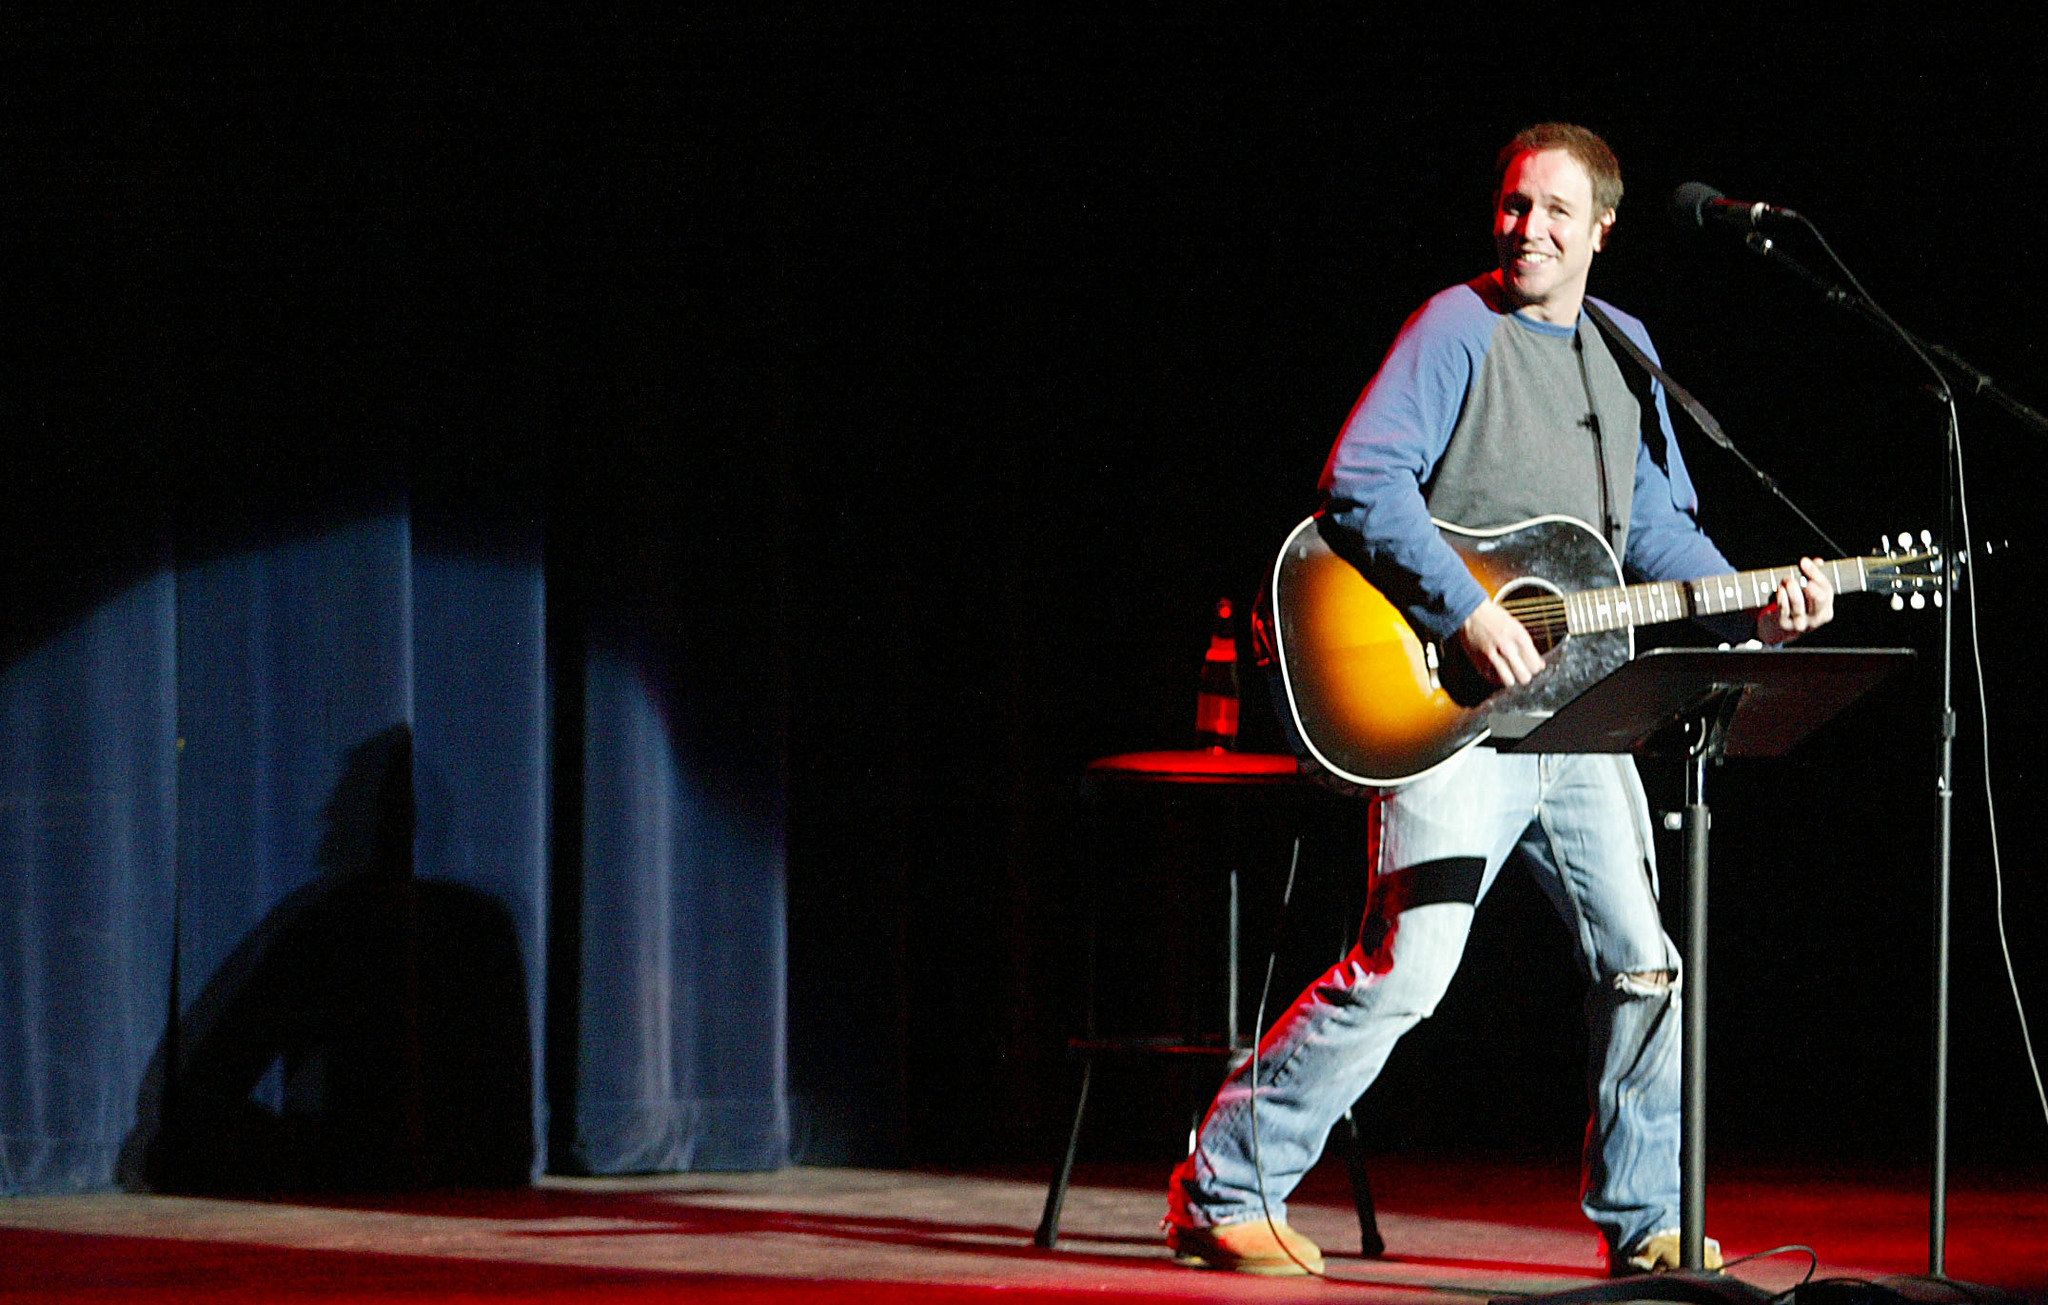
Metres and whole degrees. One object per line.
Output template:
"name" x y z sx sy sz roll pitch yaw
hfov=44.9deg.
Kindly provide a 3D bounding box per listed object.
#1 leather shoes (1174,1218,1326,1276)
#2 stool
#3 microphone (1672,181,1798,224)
"leather shoes" 0.542 1.428 6.043 0.293 0.102 0.150 -2 -5 19
"stool" 0.388 0.967 6.824 0.945 1.107 0.865 4 -3 -31
"microphone" 1.643 -1.063 5.914 0.116 0.114 0.378 -3 13 -38
